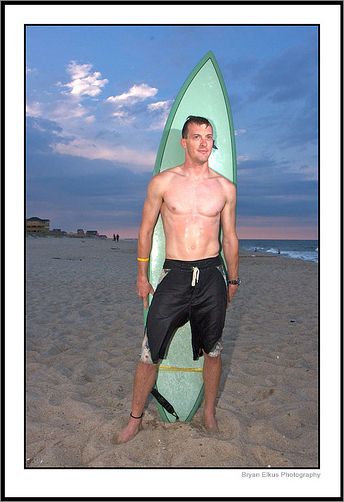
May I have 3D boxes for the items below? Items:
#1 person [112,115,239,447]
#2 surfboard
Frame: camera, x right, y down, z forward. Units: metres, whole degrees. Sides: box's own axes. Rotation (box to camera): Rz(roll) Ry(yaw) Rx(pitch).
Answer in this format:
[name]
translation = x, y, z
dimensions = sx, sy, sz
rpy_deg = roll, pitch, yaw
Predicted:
[person]
translation = 0.055, 0.170, 2.450
dimensions = 0.747, 1.989, 0.565
rpy_deg = 1, 5, 6
[surfboard]
translation = 0.097, -0.297, 2.921
dimensions = 0.572, 2.887, 0.239
rpy_deg = 8, -4, -27
